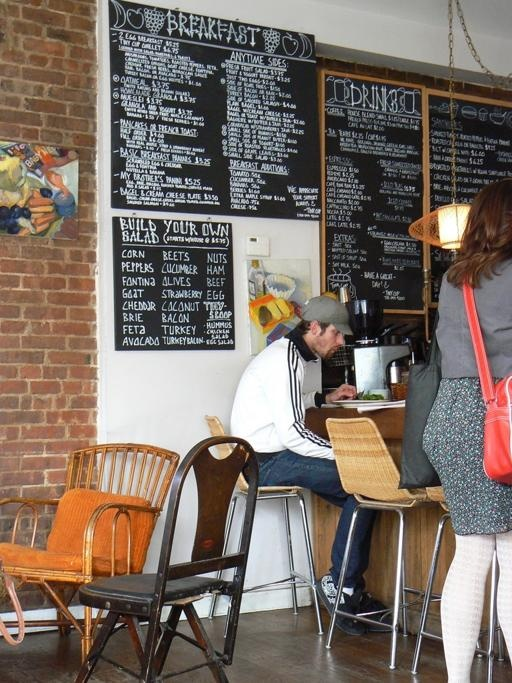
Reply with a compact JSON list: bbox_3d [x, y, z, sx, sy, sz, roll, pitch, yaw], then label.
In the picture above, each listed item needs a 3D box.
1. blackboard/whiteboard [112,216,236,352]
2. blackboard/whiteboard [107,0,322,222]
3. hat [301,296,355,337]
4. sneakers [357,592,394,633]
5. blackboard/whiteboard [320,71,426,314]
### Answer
[{"bbox_3d":[-0.411,-0.257,2.913,0.674,0.656,0.025,3,-7,-34],"label":"blackboard/whiteboard"},{"bbox_3d":[-0.246,-1.113,3.062,1.318,1.020,0.046,2,-6,-31],"label":"blackboard/whiteboard"},{"bbox_3d":[0.326,-0.111,2.819,0.212,0.109,0.152,23,3,-5],"label":"hat"},{"bbox_3d":[0.489,1.078,2.459,0.107,0.105,0.298,1,-12,-13],"label":"sneakers"},{"bbox_3d":[0.693,-0.871,3.547,0.789,1.313,0.257,9,-16,-35],"label":"blackboard/whiteboard"}]
